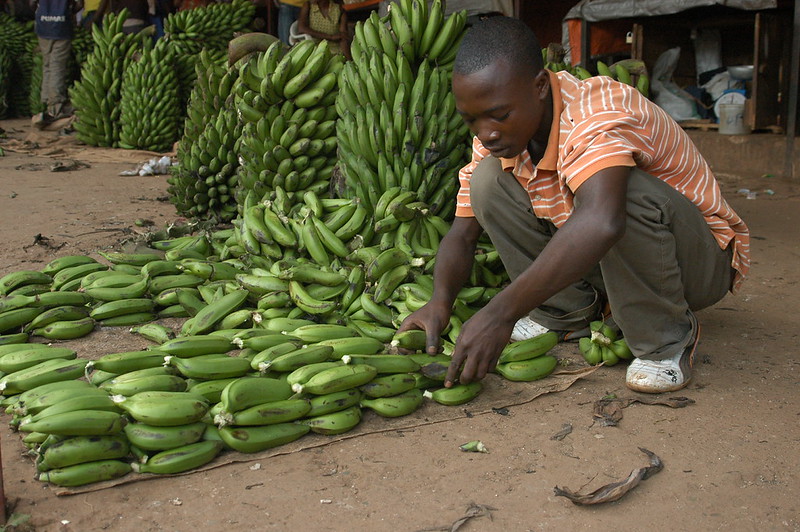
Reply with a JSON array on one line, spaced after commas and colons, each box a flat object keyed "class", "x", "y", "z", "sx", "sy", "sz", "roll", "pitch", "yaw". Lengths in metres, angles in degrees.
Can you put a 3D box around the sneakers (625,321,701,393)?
[{"class": "sneakers", "x": 1.282, "y": 0.454, "z": 3.081, "sx": 0.389, "sy": 0.161, "sz": 0.164, "roll": -38, "pitch": 31, "yaw": -22}]
